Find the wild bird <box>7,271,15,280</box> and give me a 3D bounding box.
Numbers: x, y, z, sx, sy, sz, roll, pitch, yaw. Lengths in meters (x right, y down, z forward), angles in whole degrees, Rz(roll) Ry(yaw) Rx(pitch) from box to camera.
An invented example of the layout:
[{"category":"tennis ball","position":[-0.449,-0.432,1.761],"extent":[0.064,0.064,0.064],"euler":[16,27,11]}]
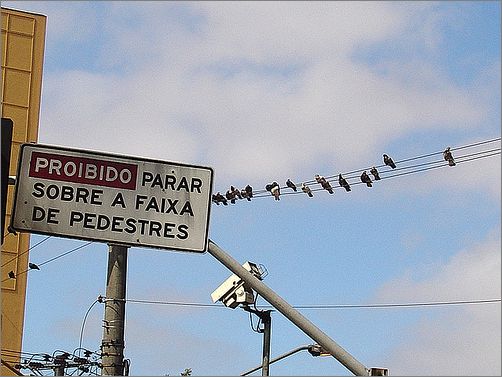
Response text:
[{"category":"wild bird","position":[-11.612,4.179,70.069],"extent":[0.267,0.388,0.096],"euler":[-11,6,-31]}]
